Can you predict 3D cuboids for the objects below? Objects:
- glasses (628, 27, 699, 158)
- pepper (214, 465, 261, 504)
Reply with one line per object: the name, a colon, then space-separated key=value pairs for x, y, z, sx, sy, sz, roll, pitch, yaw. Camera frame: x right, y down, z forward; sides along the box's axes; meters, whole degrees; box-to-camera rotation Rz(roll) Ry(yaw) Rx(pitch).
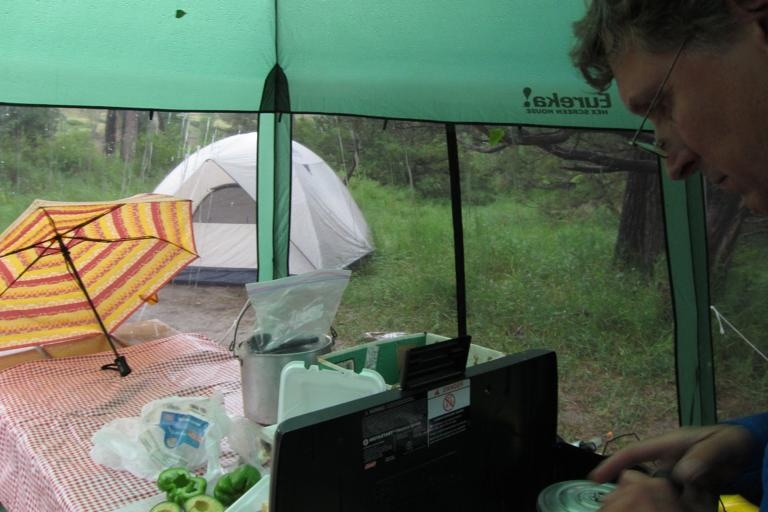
glasses: x=0.738 y=-0.450 z=1.773 sx=0.175 sy=0.318 sz=0.169 roll=16 pitch=17 yaw=40
pepper: x=-0.561 y=0.833 z=2.391 sx=0.148 sy=0.129 sz=0.147 roll=3 pitch=-26 yaw=-30
